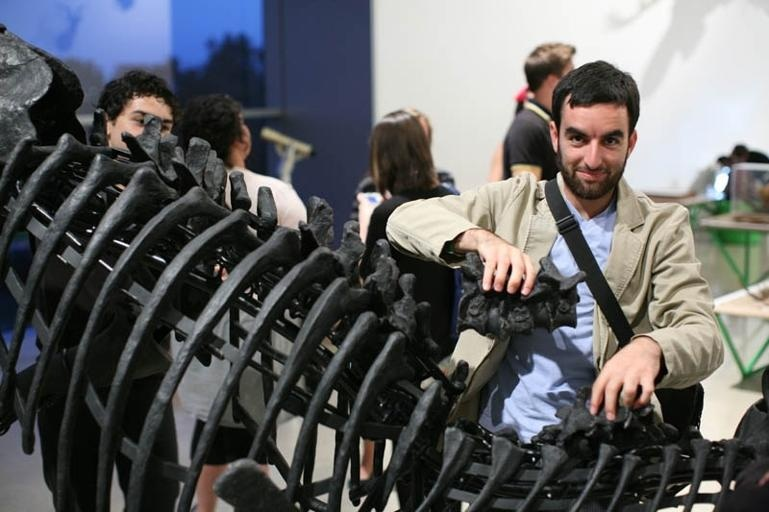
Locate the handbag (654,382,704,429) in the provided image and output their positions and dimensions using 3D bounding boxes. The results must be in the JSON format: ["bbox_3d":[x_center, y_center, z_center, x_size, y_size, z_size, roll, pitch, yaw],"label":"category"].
[{"bbox_3d":[1.530,0.757,6.444,0.296,0.236,0.115,9,-12,-37],"label":"handbag"}]

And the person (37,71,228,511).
[{"bbox_3d":[-1.452,0.140,6.934,0.682,2.449,0.386,3,-9,-11],"label":"person"}]
